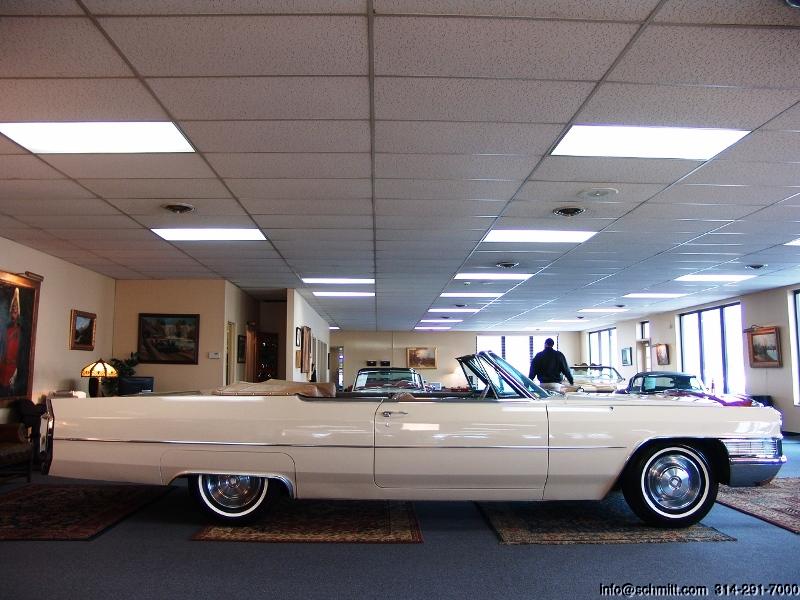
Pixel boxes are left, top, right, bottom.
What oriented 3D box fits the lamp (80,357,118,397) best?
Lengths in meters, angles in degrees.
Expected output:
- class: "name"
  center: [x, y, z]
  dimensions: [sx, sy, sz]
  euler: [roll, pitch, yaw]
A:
- class: "lamp"
  center: [-5.119, 1.270, 8.949]
  dimensions: [0.598, 0.529, 0.522]
  euler: [6, -1, 10]
